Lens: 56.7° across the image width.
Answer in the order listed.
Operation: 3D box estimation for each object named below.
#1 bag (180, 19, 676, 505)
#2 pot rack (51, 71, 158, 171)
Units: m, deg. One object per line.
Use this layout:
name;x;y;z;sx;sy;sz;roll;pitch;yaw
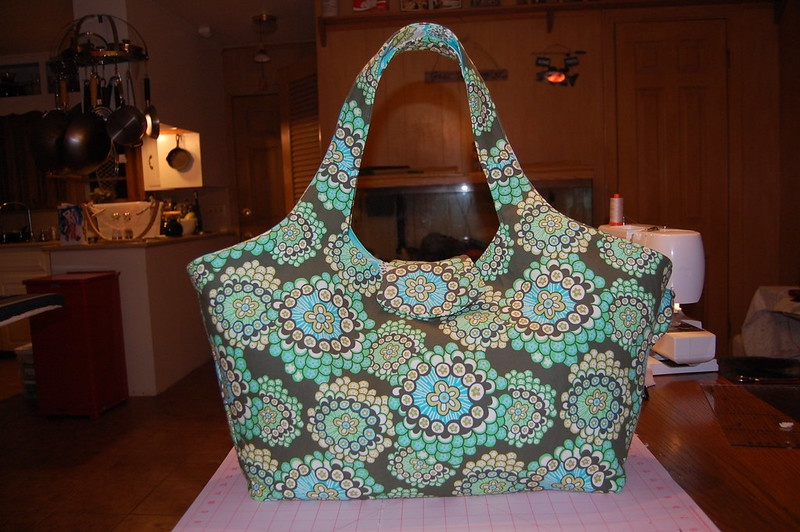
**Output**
bag;0.097;-0.014;2.663;1.633;1.704;0.518;-1;4;-2
pot rack;-2.004;-0.952;4.946;0.537;0.643;0.341;-1;11;11
